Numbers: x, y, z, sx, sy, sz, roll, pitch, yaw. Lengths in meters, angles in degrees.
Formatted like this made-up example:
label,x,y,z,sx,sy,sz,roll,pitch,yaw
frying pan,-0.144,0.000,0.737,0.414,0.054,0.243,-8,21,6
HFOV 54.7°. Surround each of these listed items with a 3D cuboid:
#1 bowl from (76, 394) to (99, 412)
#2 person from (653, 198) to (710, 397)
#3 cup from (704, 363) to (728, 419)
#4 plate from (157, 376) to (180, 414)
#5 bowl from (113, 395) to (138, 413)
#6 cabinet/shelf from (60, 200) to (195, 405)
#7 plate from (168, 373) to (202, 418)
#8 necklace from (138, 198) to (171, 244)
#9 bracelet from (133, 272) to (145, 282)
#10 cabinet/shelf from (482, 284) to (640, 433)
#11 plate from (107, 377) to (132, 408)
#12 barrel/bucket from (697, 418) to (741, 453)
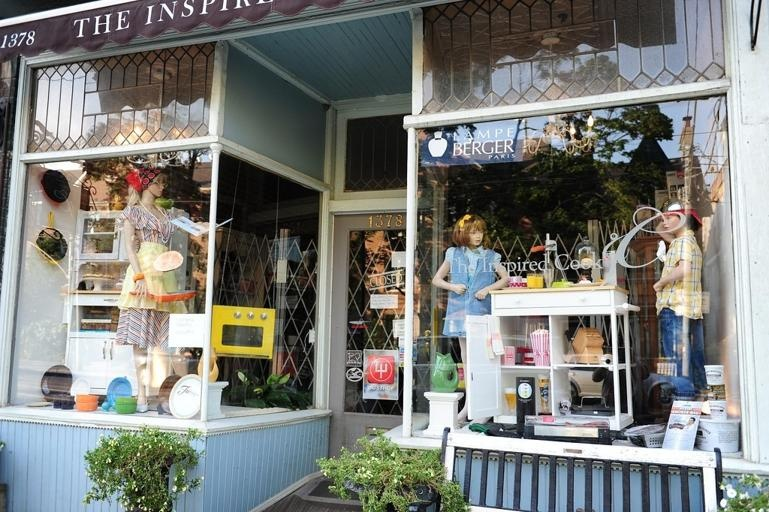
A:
label,x,y,z,sx,sy,sz,roll,pitch,yaw
bowl,-2.738,1.327,6.835,0.157,0.116,0.162,2,-4,0
person,2.389,0.267,5.997,0.100,1.421,0.407,6,-12,-32
cup,2.522,1.016,5.651,0.152,0.386,0.122,-6,-11,27
plate,-1.958,1.242,6.665,0.066,0.308,0.249,8,-12,-39
bowl,-2.360,1.346,6.766,0.194,0.158,0.099,-5,-11,24
cabinet/shelf,-2.457,0.260,7.085,0.766,2.001,0.688,0,4,-1
plate,-1.772,1.233,6.588,0.325,0.384,0.042,-5,-11,24
necklace,-2.161,-0.322,7.002,0.233,0.431,0.392,-8,-7,39
bracelet,-2.302,0.191,6.940,0.076,0.079,0.073,4,-10,-36
cabinet/shelf,1.488,0.839,6.080,1.100,1.038,0.438,-2,-7,23
plate,-2.451,1.271,6.890,0.236,0.279,0.051,-11,-21,33
barrel/bucket,2.518,1.329,5.606,0.290,0.213,0.290,1,-1,0
